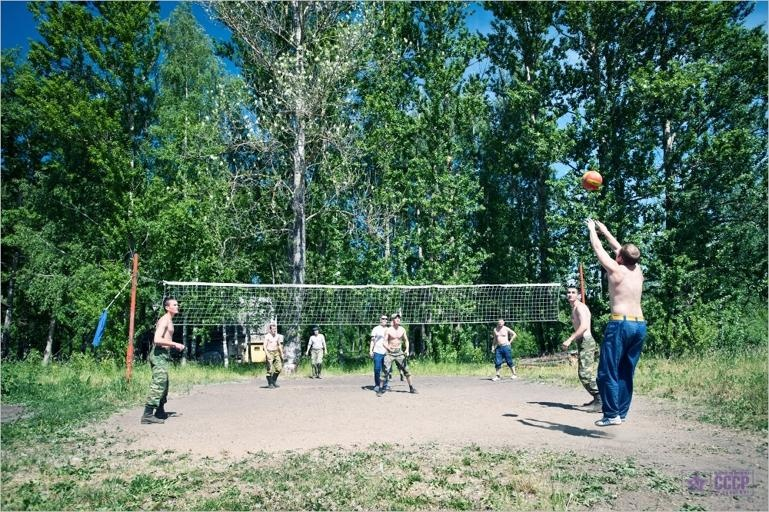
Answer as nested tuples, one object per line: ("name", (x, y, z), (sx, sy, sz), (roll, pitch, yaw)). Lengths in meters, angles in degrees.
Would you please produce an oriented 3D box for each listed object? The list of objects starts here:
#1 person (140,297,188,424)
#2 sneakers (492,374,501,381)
("person", (-6.844, 3.229, 20.174), (1.000, 3.674, 1.493), (1, 11, 12))
("sneakers", (4.491, 4.936, 26.734), (0.470, 0.203, 0.165), (7, -12, -21))
